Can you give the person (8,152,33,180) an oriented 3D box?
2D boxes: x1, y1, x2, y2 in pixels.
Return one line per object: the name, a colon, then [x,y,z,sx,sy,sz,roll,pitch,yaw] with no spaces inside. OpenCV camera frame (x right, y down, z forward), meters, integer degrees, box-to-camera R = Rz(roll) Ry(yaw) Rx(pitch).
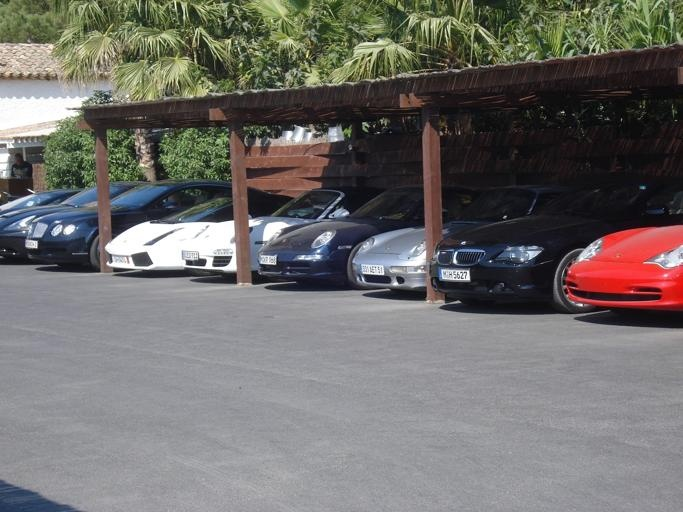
person: [-11.446,-3.188,29.789,0.655,0.913,2.425,-7,10,-20]
